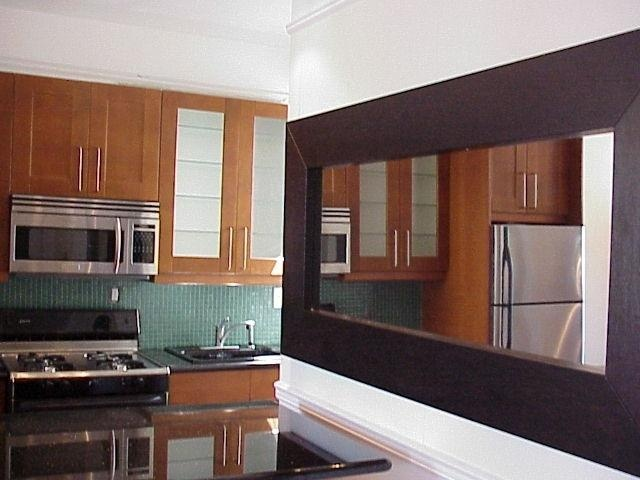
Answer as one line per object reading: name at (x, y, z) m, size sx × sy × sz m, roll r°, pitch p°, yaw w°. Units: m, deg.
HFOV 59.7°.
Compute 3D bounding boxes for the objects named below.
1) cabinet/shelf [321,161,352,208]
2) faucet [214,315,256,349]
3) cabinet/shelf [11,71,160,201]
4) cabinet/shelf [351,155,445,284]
cabinet/shelf at (0.045, -0.146, 1.409) m, size 0.082 × 0.175 × 0.081 m, roll 0°, pitch 0°, yaw 18°
faucet at (-0.570, 0.611, 3.735) m, size 0.268 × 0.164 × 0.207 m, roll 2°, pitch 1°, yaw -5°
cabinet/shelf at (-1.315, -0.487, 3.193) m, size 0.748 × 0.709 × 0.329 m, roll 1°, pitch -17°, yaw -21°
cabinet/shelf at (0.182, -0.050, 1.254) m, size 0.116 × 0.341 × 0.280 m, roll 1°, pitch 0°, yaw -22°
